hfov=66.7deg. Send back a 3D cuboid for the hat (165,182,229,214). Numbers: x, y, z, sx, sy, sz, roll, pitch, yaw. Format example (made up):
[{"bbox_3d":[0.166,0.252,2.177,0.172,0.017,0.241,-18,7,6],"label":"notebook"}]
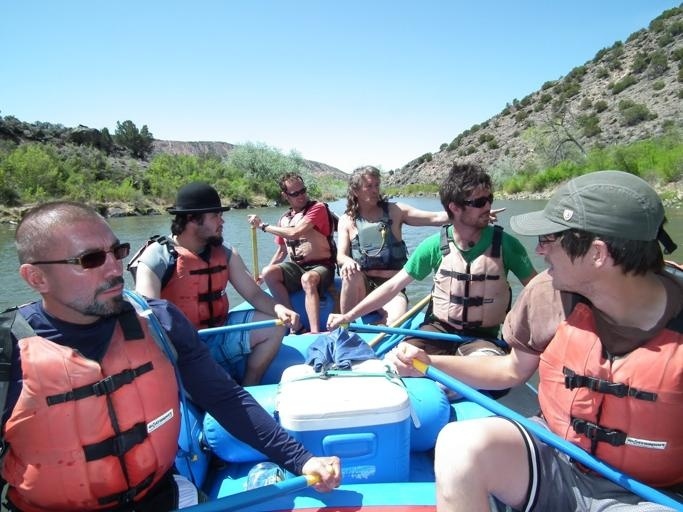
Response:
[{"bbox_3d":[-1.032,-0.394,3.693,0.285,0.133,0.332,0,8,13],"label":"hat"}]

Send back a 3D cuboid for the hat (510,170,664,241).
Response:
[{"bbox_3d":[1.101,-0.195,2.300,0.515,0.268,0.357,1,4,24],"label":"hat"}]

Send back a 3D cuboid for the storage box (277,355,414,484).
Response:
[{"bbox_3d":[0.041,0.788,2.777,0.542,0.352,0.555,-2,11,-4],"label":"storage box"}]

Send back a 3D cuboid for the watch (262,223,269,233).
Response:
[{"bbox_3d":[-0.885,-0.328,5.999,0.084,0.040,0.100,-2,-32,-3],"label":"watch"}]
